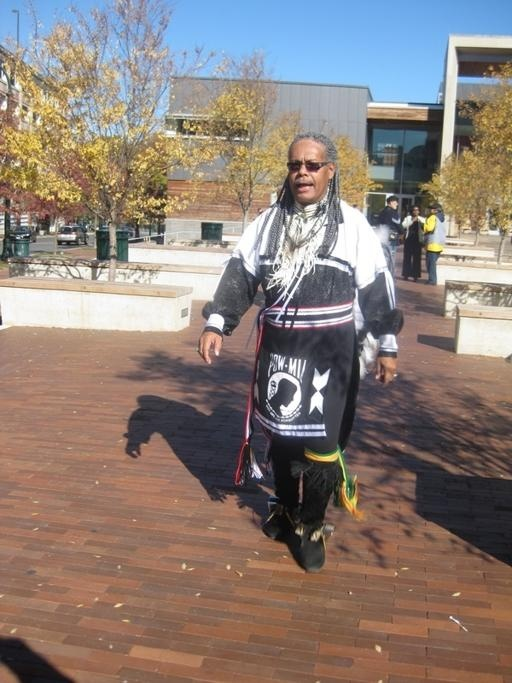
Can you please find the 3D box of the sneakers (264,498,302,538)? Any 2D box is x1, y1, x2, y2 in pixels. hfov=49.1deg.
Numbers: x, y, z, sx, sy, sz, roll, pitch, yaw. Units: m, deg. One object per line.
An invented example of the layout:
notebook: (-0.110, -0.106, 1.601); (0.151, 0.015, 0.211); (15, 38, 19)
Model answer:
sneakers: (0.144, 0.916, 2.901); (0.131, 0.202, 0.144); (23, 43, 15)

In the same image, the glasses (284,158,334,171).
glasses: (0.221, -0.767, 2.478); (0.186, 0.053, 0.129); (3, 7, 8)

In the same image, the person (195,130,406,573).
person: (0.210, 0.072, 2.644); (0.892, 2.007, 0.445); (4, 8, 12)
